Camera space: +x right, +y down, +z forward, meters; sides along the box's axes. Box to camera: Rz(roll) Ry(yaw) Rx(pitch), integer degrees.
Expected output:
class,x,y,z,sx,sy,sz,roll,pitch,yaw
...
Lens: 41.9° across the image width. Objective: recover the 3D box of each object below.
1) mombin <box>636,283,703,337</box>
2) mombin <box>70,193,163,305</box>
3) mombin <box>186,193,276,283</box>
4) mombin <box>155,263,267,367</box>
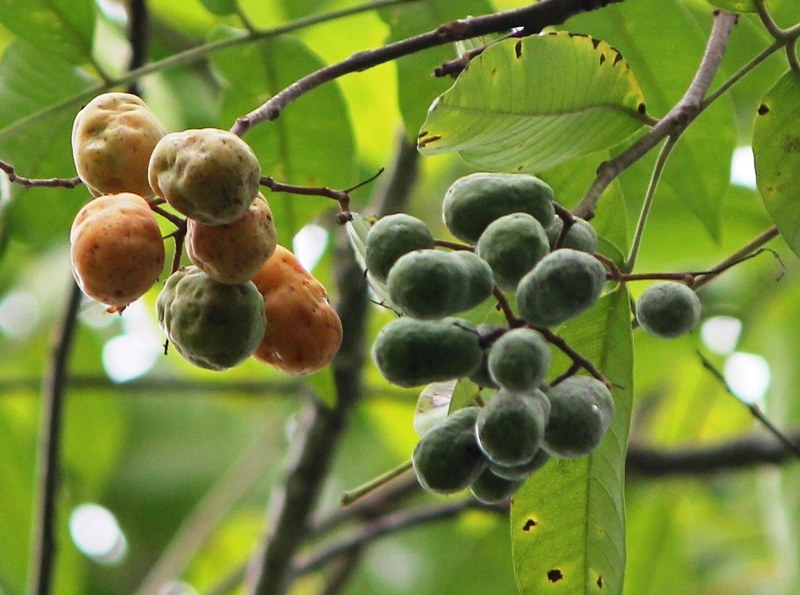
class,x,y,z,sx,sy,sz,roll,pitch,yaw
mombin,0.431,0.024,1.665,0.071,0.095,0.080,-3,-93,6
mombin,-0.454,-0.078,1.693,0.142,0.122,0.135,1,-51,7
mombin,-0.269,-0.103,1.702,0.116,0.136,0.153,-6,-66,-16
mombin,-0.308,0.014,1.735,0.133,0.168,0.133,42,-102,-26
